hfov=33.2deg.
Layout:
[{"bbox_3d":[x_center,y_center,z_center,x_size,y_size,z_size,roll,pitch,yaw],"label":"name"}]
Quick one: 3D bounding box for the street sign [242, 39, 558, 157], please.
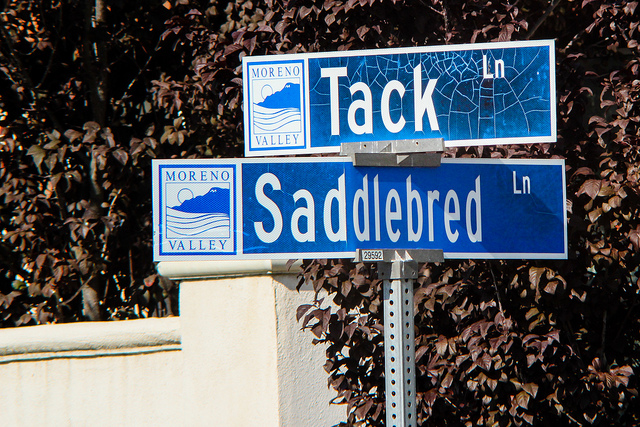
[{"bbox_3d":[0.503,-0.719,6.734,1.985,0.767,0.064,-7,4,0],"label":"street sign"}]
